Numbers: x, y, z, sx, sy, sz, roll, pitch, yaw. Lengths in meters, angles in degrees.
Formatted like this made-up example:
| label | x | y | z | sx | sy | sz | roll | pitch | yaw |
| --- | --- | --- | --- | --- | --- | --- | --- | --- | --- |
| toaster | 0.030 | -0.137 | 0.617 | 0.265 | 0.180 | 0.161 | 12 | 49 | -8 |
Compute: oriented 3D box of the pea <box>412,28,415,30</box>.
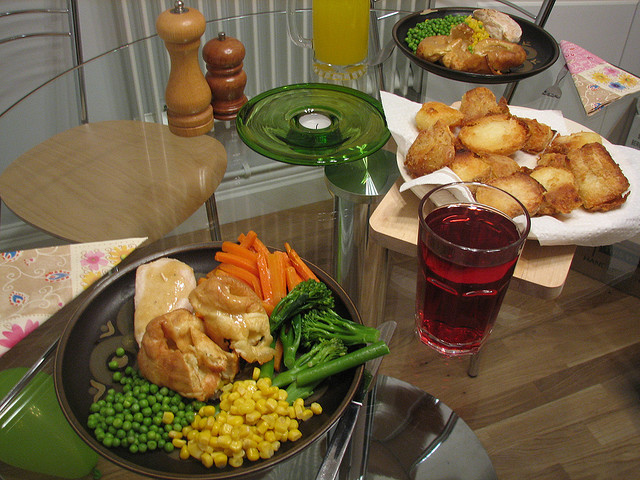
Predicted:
| label | x | y | z | sx | sy | sz | roll | pitch | yaw |
| --- | --- | --- | --- | --- | --- | --- | --- | --- | --- |
| pea | 0.230 | -0.528 | 1.202 | 0.005 | 0.006 | 0.024 | -29 | 16 | 21 |

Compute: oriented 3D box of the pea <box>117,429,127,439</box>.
| label | x | y | z | sx | sy | sz | roll | pitch | yaw |
| --- | --- | --- | --- | --- | --- | --- | --- | --- | --- |
| pea | -0.287 | 0.282 | 0.707 | 0.011 | 0.012 | 0.011 | -25 | 31 | 1 |

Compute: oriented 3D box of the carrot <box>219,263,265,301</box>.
| label | x | y | z | sx | sy | sz | roll | pitch | yaw |
| --- | --- | --- | --- | --- | --- | --- | --- | --- | --- |
| carrot | -0.140 | 0.067 | 0.896 | 0.080 | 0.026 | 0.061 | 32 | 19 | -16 |

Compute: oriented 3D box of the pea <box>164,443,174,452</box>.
| label | x | y | z | sx | sy | sz | roll | pitch | yaw |
| --- | --- | --- | --- | --- | --- | --- | --- | --- | --- |
| pea | -0.221 | 0.303 | 0.706 | 0.011 | 0.011 | 0.011 | 13 | 47 | 20 |

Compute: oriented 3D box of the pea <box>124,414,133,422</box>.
| label | x | y | z | sx | sy | sz | roll | pitch | yaw |
| --- | --- | --- | --- | --- | --- | --- | --- | --- | --- |
| pea | -0.283 | 0.263 | 0.715 | 0.008 | 0.008 | 0.008 | -9 | 45 | -7 |

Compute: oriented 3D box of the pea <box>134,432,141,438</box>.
| label | x | y | z | sx | sy | sz | roll | pitch | yaw |
| --- | --- | --- | --- | --- | --- | --- | --- | --- | --- |
| pea | -0.270 | 0.287 | 0.711 | 0.006 | 0.004 | 0.007 | -6 | 39 | -12 |

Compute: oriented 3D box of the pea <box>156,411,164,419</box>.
| label | x | y | z | sx | sy | sz | roll | pitch | yaw |
| --- | --- | --- | --- | --- | --- | --- | --- | --- | --- |
| pea | -0.243 | 0.266 | 0.735 | 0.007 | 0.007 | 0.007 | -13 | 10 | -6 |

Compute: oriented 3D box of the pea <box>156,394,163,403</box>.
| label | x | y | z | sx | sy | sz | roll | pitch | yaw |
| --- | --- | --- | --- | --- | --- | --- | --- | --- | --- |
| pea | -0.250 | 0.247 | 0.756 | 0.010 | 0.010 | 0.009 | -20 | 25 | -31 |

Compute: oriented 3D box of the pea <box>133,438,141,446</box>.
| label | x | y | z | sx | sy | sz | roll | pitch | yaw |
| --- | --- | --- | --- | --- | --- | --- | --- | --- | --- |
| pea | -0.267 | 0.295 | 0.706 | 0.007 | 0.008 | 0.007 | -2 | 82 | 16 |

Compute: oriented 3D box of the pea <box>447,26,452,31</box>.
| label | x | y | z | sx | sy | sz | roll | pitch | yaw |
| --- | --- | --- | --- | --- | --- | --- | --- | --- | --- |
| pea | 0.313 | -0.518 | 1.177 | 0.008 | 0.004 | 0.008 | -2 | 60 | 14 |

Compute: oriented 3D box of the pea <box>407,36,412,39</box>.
| label | x | y | z | sx | sy | sz | roll | pitch | yaw |
| --- | --- | --- | --- | --- | --- | --- | --- | --- | --- |
| pea | 0.217 | -0.497 | 1.176 | 0.006 | 0.006 | 0.006 | 12 | 45 | 10 |

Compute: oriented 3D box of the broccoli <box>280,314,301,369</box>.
| label | x | y | z | sx | sy | sz | roll | pitch | yaw |
| --- | --- | --- | --- | --- | --- | --- | --- | --- | --- |
| broccoli | -0.049 | 0.169 | 0.804 | 0.028 | 0.024 | 0.090 | 5 | 52 | 1 |

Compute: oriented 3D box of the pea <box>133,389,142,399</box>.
| label | x | y | z | sx | sy | sz | roll | pitch | yaw |
| --- | --- | --- | --- | --- | --- | --- | --- | --- | --- |
| pea | -0.283 | 0.238 | 0.751 | 0.012 | 0.010 | 0.009 | -18 | 44 | -16 |

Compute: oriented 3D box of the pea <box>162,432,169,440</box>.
| label | x | y | z | sx | sy | sz | roll | pitch | yaw |
| --- | --- | --- | --- | --- | --- | --- | --- | --- | --- |
| pea | -0.228 | 0.290 | 0.714 | 0.008 | 0.008 | 0.008 | -1 | 12 | 2 |

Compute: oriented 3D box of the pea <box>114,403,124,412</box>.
| label | x | y | z | sx | sy | sz | roll | pitch | yaw |
| --- | --- | --- | --- | --- | --- | --- | --- | --- | --- |
| pea | -0.301 | 0.252 | 0.728 | 0.010 | 0.010 | 0.005 | 8 | 50 | 39 |

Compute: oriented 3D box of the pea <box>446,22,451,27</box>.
| label | x | y | z | sx | sy | sz | roll | pitch | yaw |
| --- | --- | --- | --- | --- | --- | --- | --- | --- | --- |
| pea | 0.316 | -0.535 | 1.190 | 0.010 | 0.004 | 0.010 | -3 | 46 | -6 |

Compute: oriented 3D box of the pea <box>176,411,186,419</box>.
| label | x | y | z | sx | sy | sz | roll | pitch | yaw |
| --- | --- | --- | --- | --- | --- | --- | --- | --- | --- |
| pea | -0.213 | 0.268 | 0.739 | 0.010 | 0.005 | 0.010 | 15 | 12 | -29 |

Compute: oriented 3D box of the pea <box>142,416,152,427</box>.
| label | x | y | z | sx | sy | sz | roll | pitch | yaw |
| --- | --- | --- | --- | --- | --- | --- | --- | --- | --- |
| pea | -0.256 | 0.270 | 0.719 | 0.009 | 0.006 | 0.010 | 25 | 49 | 25 |

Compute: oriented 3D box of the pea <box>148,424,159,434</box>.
| label | x | y | z | sx | sy | sz | roll | pitch | yaw |
| --- | --- | --- | --- | --- | --- | --- | --- | --- | --- |
| pea | -0.246 | 0.279 | 0.712 | 0.008 | 0.008 | 0.008 | -6 | 47 | -29 |

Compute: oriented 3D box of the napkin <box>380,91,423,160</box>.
| label | x | y | z | sx | sy | sz | roll | pitch | yaw |
| --- | --- | --- | --- | --- | --- | --- | --- | --- | --- |
| napkin | 0.166 | -0.235 | 0.998 | 0.086 | 0.036 | 0.219 | 3 | 47 | 5 |

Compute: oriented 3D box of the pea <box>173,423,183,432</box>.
| label | x | y | z | sx | sy | sz | roll | pitch | yaw |
| --- | --- | --- | --- | --- | --- | --- | --- | --- | --- |
| pea | -0.214 | 0.283 | 0.728 | 0.011 | 0.013 | 0.010 | 3 | -9 | -36 |

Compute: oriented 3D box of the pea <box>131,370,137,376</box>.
| label | x | y | z | sx | sy | sz | roll | pitch | yaw |
| --- | --- | --- | --- | --- | --- | --- | --- | --- | --- |
| pea | -0.297 | 0.210 | 0.772 | 0.008 | 0.006 | 0.009 | -17 | 48 | -13 |

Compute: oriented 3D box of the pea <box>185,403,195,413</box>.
| label | x | y | z | sx | sy | sz | roll | pitch | yaw |
| --- | --- | --- | --- | --- | --- | --- | --- | --- | --- |
| pea | -0.203 | 0.260 | 0.752 | 0.014 | 0.007 | 0.017 | -8 | 47 | -5 |

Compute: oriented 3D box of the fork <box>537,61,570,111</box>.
| label | x | y | z | sx | sy | sz | roll | pitch | yaw |
| --- | --- | --- | --- | --- | --- | --- | --- | --- | --- |
| fork | 0.573 | -0.380 | 1.199 | 0.031 | 0.026 | 0.230 | 20 | 58 | 24 |

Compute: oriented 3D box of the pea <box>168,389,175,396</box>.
| label | x | y | z | sx | sy | sz | roll | pitch | yaw |
| --- | --- | --- | --- | --- | --- | --- | --- | --- | --- |
| pea | -0.233 | 0.240 | 0.760 | 0.008 | 0.010 | 0.008 | -12 | 60 | -4 |

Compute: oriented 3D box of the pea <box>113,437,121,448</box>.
| label | x | y | z | sx | sy | sz | roll | pitch | yaw |
| --- | --- | --- | --- | --- | --- | --- | --- | --- | --- |
| pea | -0.293 | 0.292 | 0.698 | 0.010 | 0.011 | 0.010 | 19 | 33 | -31 |

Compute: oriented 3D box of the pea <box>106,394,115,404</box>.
| label | x | y | z | sx | sy | sz | roll | pitch | yaw |
| --- | --- | --- | --- | --- | --- | --- | --- | --- | --- |
| pea | -0.320 | 0.243 | 0.740 | 0.011 | 0.006 | 0.011 | 24 | 46 | 22 |

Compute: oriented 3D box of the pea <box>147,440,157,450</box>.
| label | x | y | z | sx | sy | sz | roll | pitch | yaw |
| --- | --- | --- | --- | --- | --- | --- | --- | --- | --- |
| pea | -0.245 | 0.300 | 0.705 | 0.009 | 0.009 | 0.009 | 27 | 88 | 30 |

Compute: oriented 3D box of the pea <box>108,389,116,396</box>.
| label | x | y | z | sx | sy | sz | roll | pitch | yaw |
| --- | --- | --- | --- | --- | --- | --- | --- | --- | --- |
| pea | -0.320 | 0.235 | 0.746 | 0.008 | 0.009 | 0.009 | -3 | 31 | -3 |

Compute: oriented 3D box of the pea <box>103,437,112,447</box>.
| label | x | y | z | sx | sy | sz | roll | pitch | yaw |
| --- | --- | --- | --- | --- | --- | --- | --- | --- | --- |
| pea | -0.305 | 0.290 | 0.695 | 0.011 | 0.011 | 0.011 | 16 | 82 | 39 |

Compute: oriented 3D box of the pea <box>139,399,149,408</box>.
| label | x | y | z | sx | sy | sz | roll | pitch | yaw |
| --- | --- | --- | --- | --- | --- | --- | --- | --- | --- |
| pea | -0.270 | 0.251 | 0.743 | 0.011 | 0.011 | 0.011 | -25 | 24 | -12 |
